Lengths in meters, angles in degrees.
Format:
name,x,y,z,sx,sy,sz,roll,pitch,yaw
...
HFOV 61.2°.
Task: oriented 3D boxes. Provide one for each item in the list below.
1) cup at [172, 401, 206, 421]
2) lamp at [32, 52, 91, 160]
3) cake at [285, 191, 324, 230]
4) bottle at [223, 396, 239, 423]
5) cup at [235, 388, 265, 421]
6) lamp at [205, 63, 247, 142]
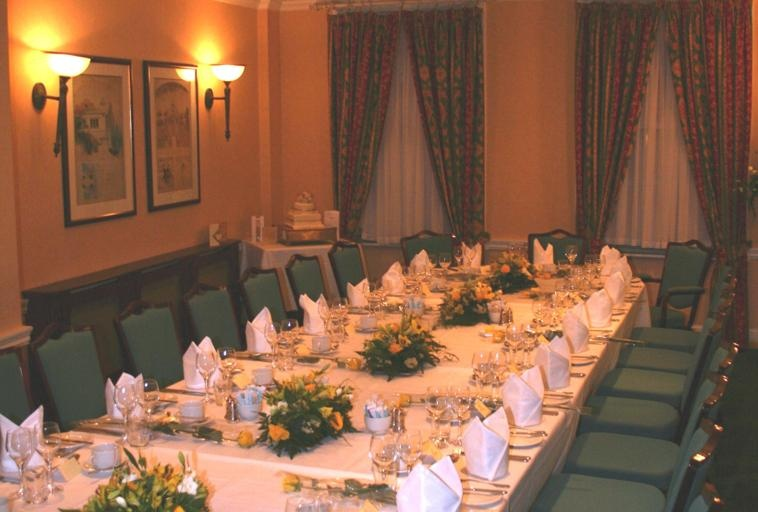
name,x,y,z,sx,sy,sz,roll,pitch,yaw
cup,-0.962,0.780,3.277,0.115,0.092,0.096,-2,2,-1
lamp,-2.604,-1.237,5.260,0.445,0.823,0.268,-7,9,-36
cake,-0.877,-0.507,7.463,0.318,0.369,0.494,0,3,-11
bottle,-0.741,0.780,3.243,0.089,0.142,0.095,1,1,0
cup,-0.652,0.756,3.286,0.153,0.153,0.126,-6,8,-27
lamp,-1.625,-1.707,7.149,0.420,0.810,0.533,0,7,15
